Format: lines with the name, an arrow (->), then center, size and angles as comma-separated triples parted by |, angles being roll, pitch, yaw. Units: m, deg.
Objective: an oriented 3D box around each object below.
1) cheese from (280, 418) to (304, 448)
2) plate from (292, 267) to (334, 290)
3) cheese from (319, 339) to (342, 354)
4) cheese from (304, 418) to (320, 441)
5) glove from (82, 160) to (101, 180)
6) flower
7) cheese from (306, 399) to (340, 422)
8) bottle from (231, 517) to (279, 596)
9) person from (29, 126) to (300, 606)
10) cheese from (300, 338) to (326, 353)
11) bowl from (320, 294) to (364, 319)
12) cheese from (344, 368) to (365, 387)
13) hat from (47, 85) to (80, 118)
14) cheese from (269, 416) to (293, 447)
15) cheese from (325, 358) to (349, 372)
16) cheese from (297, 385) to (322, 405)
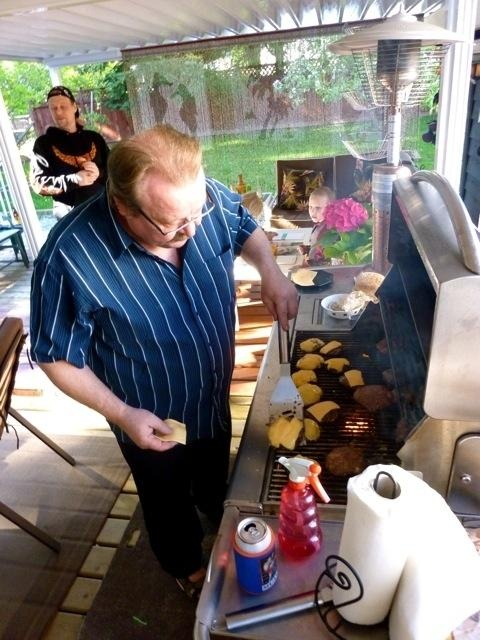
cheese -> 0.110, 0.243, 0.929 | 0.037, 0.016, 0.064 | 6, 60, 24
plate -> 0.271, -0.143, 1.650 | 0.112, 0.017, 0.107 | -5, 32, 13
cheese -> 0.257, 0.078, 1.241 | 0.043, 0.016, 0.041 | -26, 14, 7
cheese -> 0.159, 0.241, 0.955 | 0.038, 0.023, 0.041 | 2, 53, -2
glove -> -1.134, -1.147, 3.414 | 0.132, 0.136, 0.197 | -25, 20, -10
flower -> 0.476, -0.377, 1.965 | 0.230, 0.305, 0.219 | 0, 28, 16
cheese -> 0.194, 0.216, 1.005 | 0.074, 0.033, 0.057 | -4, 27, 8
bottle -> 0.027, 0.376, 0.692 | 0.071, 0.104, 0.067 | -4, 20, 2
person -> -0.110, 0.295, 1.302 | 0.695, 1.605, 0.461 | -26, 32, -30
cheese -> 0.199, 0.067, 1.264 | 0.051, 0.014, 0.042 | -24, 29, -35
bowl -> 0.333, -0.044, 1.437 | 0.096, 0.049, 0.142 | -16, 27, -17
cheese -> 0.282, 0.146, 1.078 | 0.039, 0.013, 0.041 | 10, 51, 25
hat -> -1.443, -1.809, 3.599 | 0.263, 0.184, 0.254 | 12, 55, 0
cheese -> 0.104, 0.253, 0.970 | 0.054, 0.018, 0.064 | 17, 81, 57
cheese -> 0.261, 0.121, 1.169 | 0.040, 0.014, 0.041 | -2, 23, 12
cheese -> 0.171, 0.182, 1.056 | 0.046, 0.011, 0.047 | 7, 32, 17
